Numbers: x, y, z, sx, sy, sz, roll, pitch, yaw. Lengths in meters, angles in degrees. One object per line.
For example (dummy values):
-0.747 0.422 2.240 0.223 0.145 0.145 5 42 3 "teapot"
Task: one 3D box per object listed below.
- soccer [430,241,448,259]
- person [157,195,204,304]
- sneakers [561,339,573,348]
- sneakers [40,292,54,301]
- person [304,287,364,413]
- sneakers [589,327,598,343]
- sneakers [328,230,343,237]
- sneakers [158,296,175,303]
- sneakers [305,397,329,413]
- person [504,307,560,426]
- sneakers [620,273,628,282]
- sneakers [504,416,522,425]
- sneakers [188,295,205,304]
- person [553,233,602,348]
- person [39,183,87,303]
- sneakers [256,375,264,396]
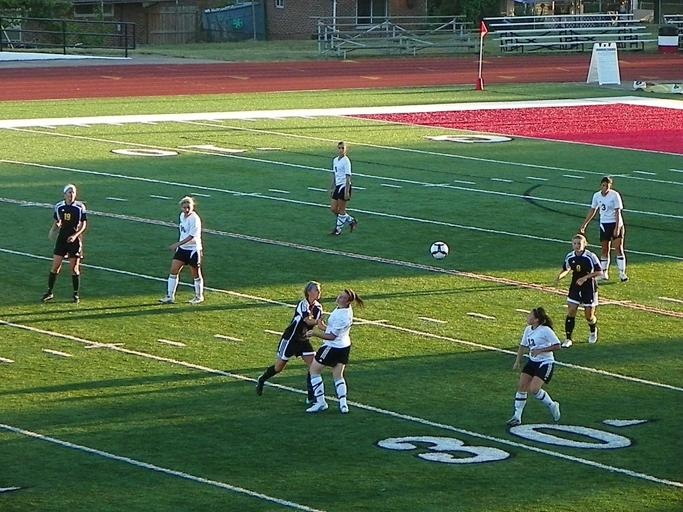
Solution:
1.956 -0.066 25.752 0.318 0.361 0.425 1 8 0 "soccer"
-2.884 -0.083 23.178 0.723 1.952 0.943 0 9 -6 "person"
3.816 1.518 21.637 0.160 0.105 0.300 0 3 25 "sneakers"
-5.357 0.765 23.209 0.239 0.170 0.114 9 27 5 "sneakers"
-0.177 1.447 18.782 0.677 1.874 0.371 1 10 0 "person"
4.267 1.400 21.732 0.132 0.248 0.127 5 -12 44 "sneakers"
-0.148 -0.463 27.896 0.191 0.159 0.464 2 2 26 "sneakers"
-3.209 0.830 23.194 0.306 0.109 0.095 1 12 -4 "sneakers"
-0.365 2.268 18.937 0.469 0.248 0.134 -3 36 13 "sneakers"
2.869 1.664 18.725 0.754 1.708 0.592 3 10 8 "person"
5.525 0.460 25.023 0.133 0.154 0.182 -2 2 -2 "sneakers"
2.525 2.452 18.683 0.215 0.145 0.169 1 8 0 "sneakers"
-2.664 0.839 23.244 0.267 0.082 0.125 -2 12 -14 "sneakers"
4.075 0.589 21.930 0.729 1.888 1.250 3 9 10 "person"
-5.073 -0.220 23.219 0.749 2.134 0.677 0 10 -6 "person"
-1.257 1.989 19.155 0.133 0.297 0.146 -5 26 -20 "sneakers"
